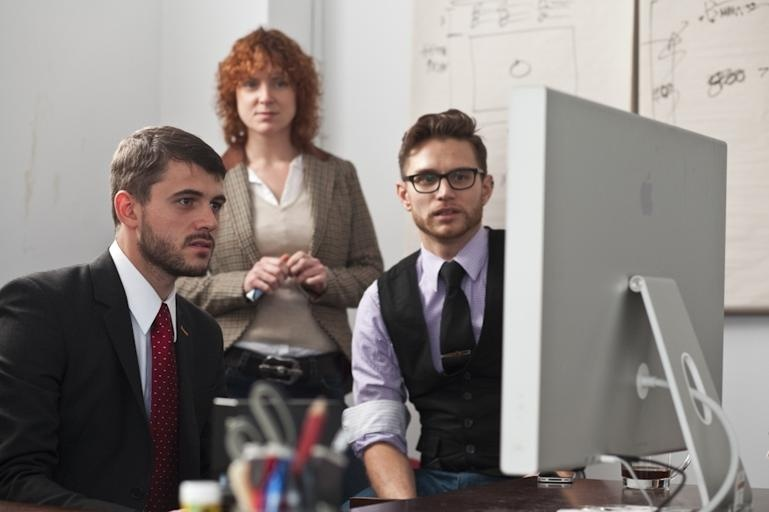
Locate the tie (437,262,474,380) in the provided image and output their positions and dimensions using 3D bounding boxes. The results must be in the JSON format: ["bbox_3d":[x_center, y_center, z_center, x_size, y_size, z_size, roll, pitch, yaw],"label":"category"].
[{"bbox_3d":[0.198,0.167,2.163,0.093,0.295,0.146,0,4,3],"label":"tie"}]
